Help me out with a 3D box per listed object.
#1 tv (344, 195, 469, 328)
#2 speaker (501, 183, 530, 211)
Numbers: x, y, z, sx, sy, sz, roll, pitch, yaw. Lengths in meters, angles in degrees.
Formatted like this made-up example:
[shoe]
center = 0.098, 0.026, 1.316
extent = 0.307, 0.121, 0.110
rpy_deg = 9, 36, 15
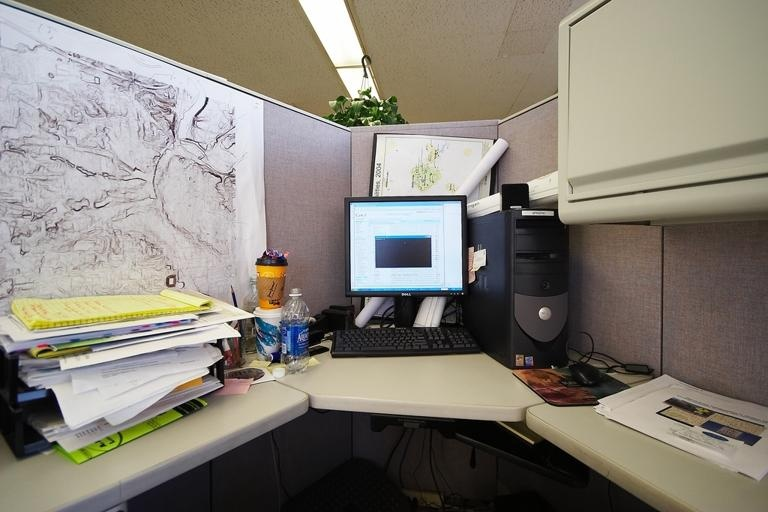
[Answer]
[tv]
center = 0.093, 0.007, 1.886
extent = 0.533, 0.446, 0.057
rpy_deg = 0, -4, 4
[speaker]
center = 0.443, -0.200, 1.684
extent = 0.082, 0.092, 0.120
rpy_deg = -2, 2, 37
